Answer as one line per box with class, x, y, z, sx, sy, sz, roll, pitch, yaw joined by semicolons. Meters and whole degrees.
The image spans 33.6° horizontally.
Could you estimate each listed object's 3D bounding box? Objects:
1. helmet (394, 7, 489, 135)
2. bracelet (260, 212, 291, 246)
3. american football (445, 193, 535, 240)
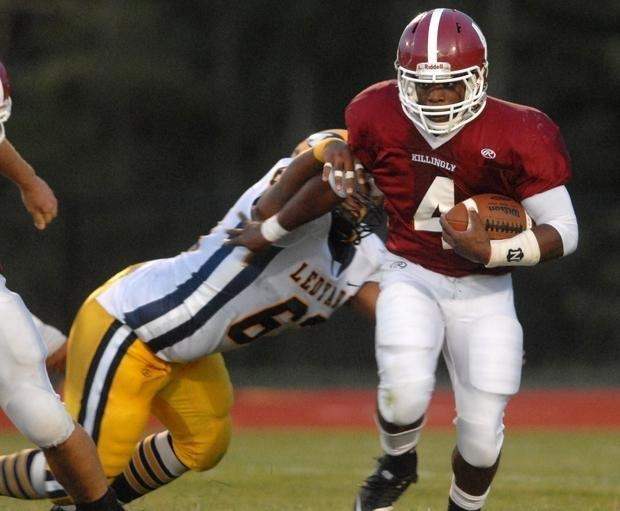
helmet;0.529;-0.736;4.131;0.370;0.474;0.353;1;22;5
bracelet;-0.140;-0.100;4.024;0.096;0.085;0.111;13;5;-12
american football;0.737;-0.238;4.030;0.367;0.145;0.173;10;-6;-23
